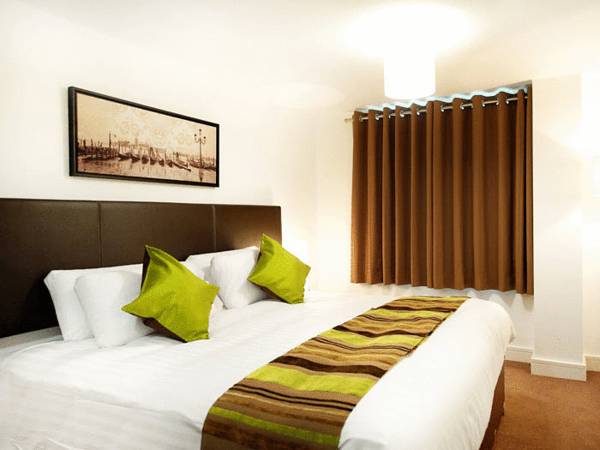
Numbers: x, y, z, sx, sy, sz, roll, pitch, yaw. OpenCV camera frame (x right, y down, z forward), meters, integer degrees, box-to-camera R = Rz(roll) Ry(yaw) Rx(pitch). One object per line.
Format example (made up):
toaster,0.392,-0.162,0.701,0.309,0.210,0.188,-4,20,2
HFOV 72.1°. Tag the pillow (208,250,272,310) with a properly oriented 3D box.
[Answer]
pillow,-0.508,0.430,3.338,0.128,0.422,0.451,-23,-6,35

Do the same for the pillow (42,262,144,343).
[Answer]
pillow,-1.332,0.471,2.495,0.133,0.408,0.507,-14,-6,40

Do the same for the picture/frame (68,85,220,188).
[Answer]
picture/frame,-1.207,-0.660,3.337,0.057,0.710,1.298,4,9,37

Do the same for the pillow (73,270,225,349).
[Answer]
pillow,-1.141,0.497,2.545,0.391,0.417,0.271,-7,9,-39
